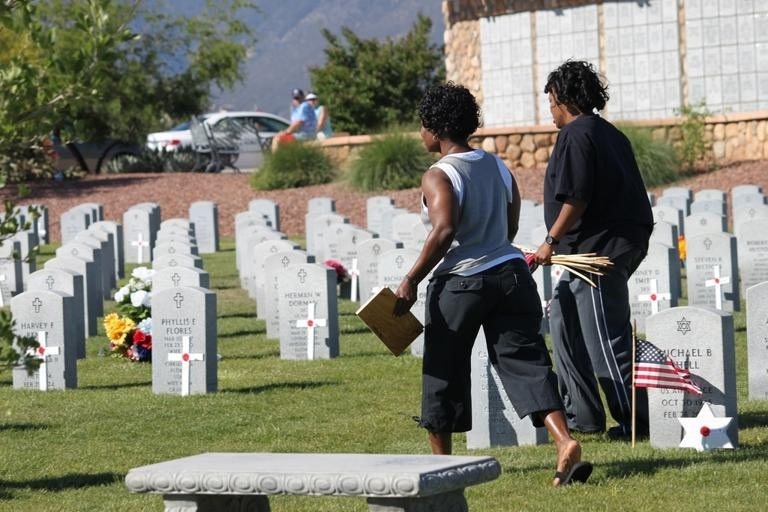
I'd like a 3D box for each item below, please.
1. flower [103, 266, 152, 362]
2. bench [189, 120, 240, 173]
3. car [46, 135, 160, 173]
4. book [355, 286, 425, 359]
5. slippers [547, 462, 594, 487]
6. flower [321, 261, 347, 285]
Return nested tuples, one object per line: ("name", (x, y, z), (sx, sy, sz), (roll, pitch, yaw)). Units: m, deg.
("flower", (-4.435, 1.091, 32.392), (0.579, 1.480, 1.307), (5, -4, -1))
("bench", (-4.410, -2.841, 48.468), (1.102, 1.022, 1.044), (-4, -2, -6))
("car", (-7.799, -2.717, 50.778), (3.215, 0.911, 1.973), (-3, 4, -29))
("book", (0.092, 0.977, 27.835), (0.808, 1.167, 0.722), (2, -1, -3))
("slippers", (2.749, 3.289, 27.752), (0.619, 0.266, 0.201), (-42, -4, 7))
("flower", (-0.896, 0.311, 34.508), (0.369, 0.343, 1.194), (-4, -2, 10))
